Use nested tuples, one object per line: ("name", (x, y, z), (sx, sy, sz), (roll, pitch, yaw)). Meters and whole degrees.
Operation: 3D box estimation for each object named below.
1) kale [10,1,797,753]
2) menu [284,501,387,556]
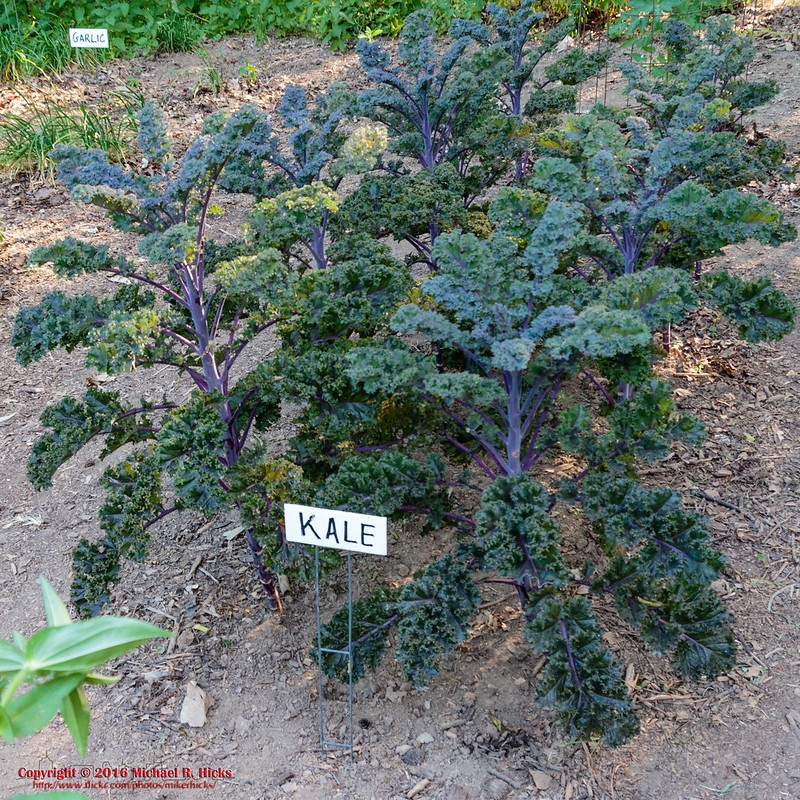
("kale", (0.286, -0.389, 3.955), (3.159, 2.414, 3.874), (12, 46, 11))
("menu", (-0.256, 0.515, 2.852), (0.428, 0.175, 0.010), (5, 17, 18))
